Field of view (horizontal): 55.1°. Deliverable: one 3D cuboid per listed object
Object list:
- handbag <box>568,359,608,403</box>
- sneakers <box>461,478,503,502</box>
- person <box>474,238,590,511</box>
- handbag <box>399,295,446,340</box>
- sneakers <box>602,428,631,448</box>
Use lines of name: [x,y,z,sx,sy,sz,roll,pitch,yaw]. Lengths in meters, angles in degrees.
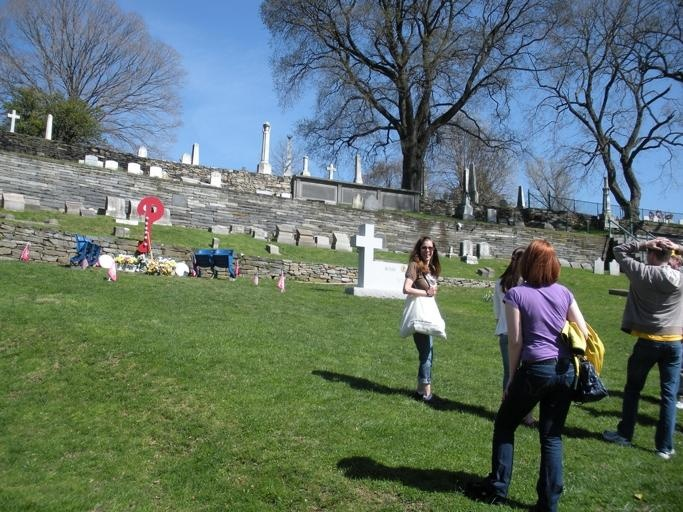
handbag: [3.148,1.591,8.335,0.418,0.600,0.261,8,7,21]
sneakers: [1.834,3.084,8.578,0.489,0.249,0.219,10,4,34]
person: [2.506,1.513,8.483,1.006,3.404,0.681,7,7,22]
handbag: [1.368,1.070,11.195,0.758,1.004,0.534,-11,-40,21]
sneakers: [4.096,2.699,9.764,0.169,0.172,0.328,2,4,-45]
